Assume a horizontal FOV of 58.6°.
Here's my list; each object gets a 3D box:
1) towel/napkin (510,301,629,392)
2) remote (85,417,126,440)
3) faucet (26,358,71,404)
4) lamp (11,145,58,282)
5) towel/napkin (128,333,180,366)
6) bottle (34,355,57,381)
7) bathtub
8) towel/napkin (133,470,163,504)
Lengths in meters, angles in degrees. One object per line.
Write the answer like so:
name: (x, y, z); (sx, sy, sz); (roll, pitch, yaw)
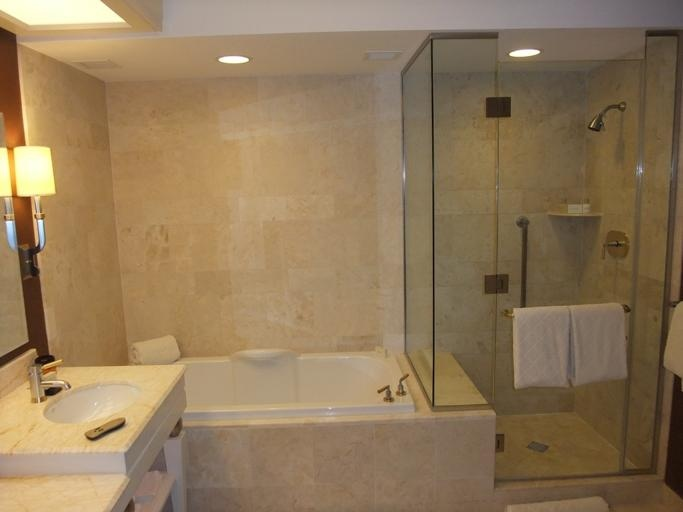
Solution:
towel/napkin: (1.401, 0.540, 3.743); (0.524, 0.374, 0.094); (-2, 9, -2)
remote: (-1.128, 0.829, 2.930); (0.074, 0.018, 0.137); (7, 14, 38)
faucet: (-1.556, 0.653, 3.259); (0.198, 0.199, 0.292); (-5, 7, -26)
lamp: (-1.739, -0.242, 3.464); (0.192, 0.738, 0.295); (-7, 8, -36)
towel/napkin: (-1.329, 0.692, 4.395); (0.342, 0.189, 0.234); (-4, 6, -16)
bottle: (-1.584, 0.606, 3.273); (0.114, 0.134, 0.116); (8, 11, 32)
bathtub: (-0.369, 0.914, 4.152); (1.626, 0.362, 0.848); (-2, 6, 1)
towel/napkin: (-1.091, 1.310, 3.453); (0.131, 0.100, 0.232); (-3, 6, -8)
